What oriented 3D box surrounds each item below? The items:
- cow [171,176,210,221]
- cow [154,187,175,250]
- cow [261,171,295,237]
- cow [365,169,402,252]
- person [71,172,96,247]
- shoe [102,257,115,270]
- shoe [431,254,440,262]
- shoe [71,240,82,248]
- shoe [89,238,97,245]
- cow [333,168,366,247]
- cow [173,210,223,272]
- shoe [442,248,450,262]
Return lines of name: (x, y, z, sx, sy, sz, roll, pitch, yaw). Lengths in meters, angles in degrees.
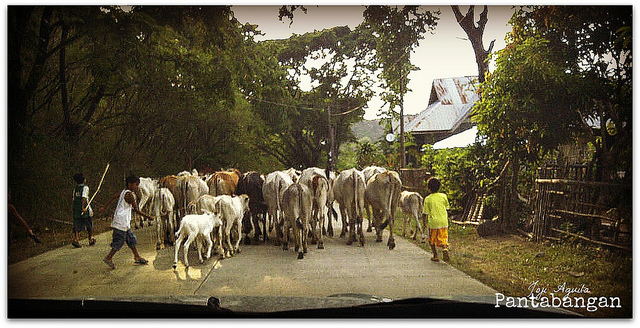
cow: (-5.612, 1.389, 20.024, 1.440, 2.037, 4.010, 3, 0, -4)
cow: (-6.518, 2.278, 18.955, 0.850, 2.936, 3.682, -5, -15, -19)
cow: (-1.780, 1.456, 20.262, 1.587, 2.471, 4.843, 1, 5, -4)
cow: (2.596, 1.758, 18.789, 1.287, 3.005, 2.628, 3, 1, -7)
person: (-9.301, 1.802, 17.828, 0.691, 1.912, 0.648, 3, 1, -31)
shoe: (-7.321, 3.444, 15.945, 0.553, 0.215, 0.184, 43, 8, -22)
shoe: (4.099, 3.320, 16.117, 0.362, 0.300, 0.168, 4, -4, 7)
shoe: (-9.526, 3.133, 17.832, 0.417, 0.263, 0.135, 29, 3, -13)
shoe: (-9.238, 3.137, 18.541, 0.145, 0.259, 0.533, 13, -4, -14)
cow: (1.235, 1.717, 19.359, 1.359, 2.847, 2.525, 3, 1, 3)
cow: (-4.355, 2.595, 16.565, 1.073, 1.954, 2.856, -4, -6, 19)
shoe: (4.492, 3.186, 16.206, 0.255, 0.450, 0.486, 3, 1, 15)
